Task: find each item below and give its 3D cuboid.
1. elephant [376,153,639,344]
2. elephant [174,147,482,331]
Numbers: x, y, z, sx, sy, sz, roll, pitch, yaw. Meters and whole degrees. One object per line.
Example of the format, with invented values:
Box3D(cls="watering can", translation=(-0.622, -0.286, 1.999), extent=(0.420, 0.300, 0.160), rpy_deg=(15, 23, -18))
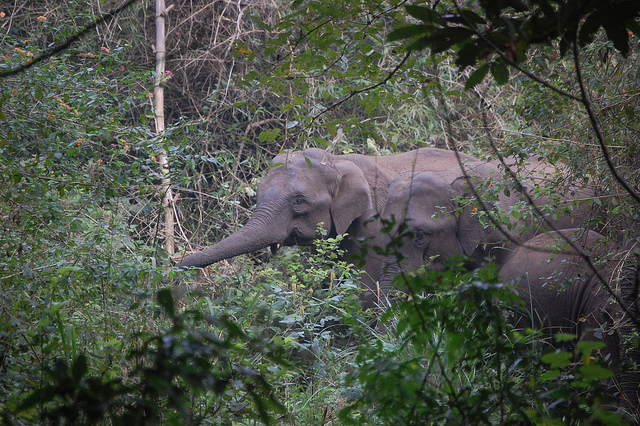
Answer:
Box3D(cls="elephant", translation=(1.128, 0.122, 4.854), extent=(1.840, 1.088, 0.924), rpy_deg=(-7, 4, 8))
Box3D(cls="elephant", translation=(0.212, 0.269, 6.443), extent=(3.000, 1.679, 1.119), rpy_deg=(-7, 16, -31))
